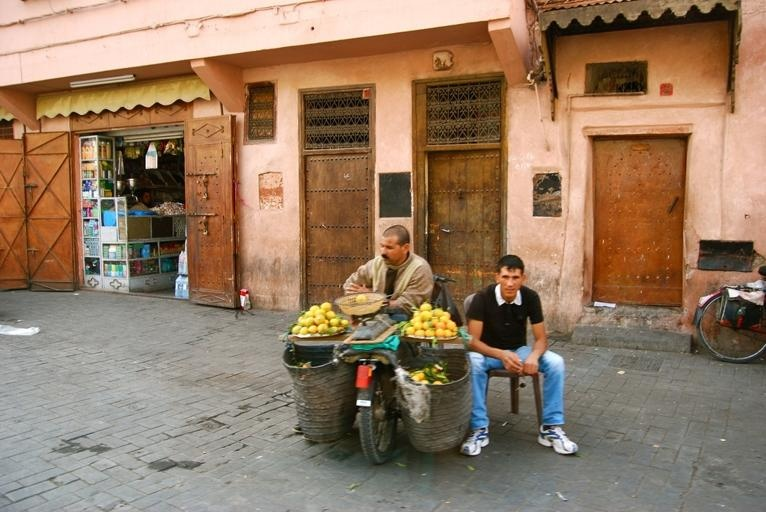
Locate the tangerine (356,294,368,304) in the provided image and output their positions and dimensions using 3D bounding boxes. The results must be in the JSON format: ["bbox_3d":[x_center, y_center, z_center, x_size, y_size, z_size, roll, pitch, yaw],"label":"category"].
[{"bbox_3d":[-0.219,0.458,6.371,0.096,0.049,0.094,-6,10,-41],"label":"tangerine"}]

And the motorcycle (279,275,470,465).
[{"bbox_3d":[-0.102,1.476,6.615,1.650,1.419,3.171,0,-6,5],"label":"motorcycle"}]

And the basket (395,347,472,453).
[{"bbox_3d":[0.466,1.441,6.254,0.826,0.994,0.768,-1,5,-9],"label":"basket"}]

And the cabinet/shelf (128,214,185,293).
[{"bbox_3d":[-5.193,-0.046,13.552,0.612,1.533,1.742,7,7,33],"label":"cabinet/shelf"}]

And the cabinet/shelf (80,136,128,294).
[{"bbox_3d":[-6.296,-1.009,13.539,1.166,3.420,0.776,1,10,25],"label":"cabinet/shelf"}]

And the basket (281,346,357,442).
[{"bbox_3d":[-0.751,1.444,6.622,1.007,1.002,1.048,1,1,4],"label":"basket"}]

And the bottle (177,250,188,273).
[{"bbox_3d":[-4.285,0.143,12.771,0.165,0.495,0.347,-8,10,-26],"label":"bottle"}]

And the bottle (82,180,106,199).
[{"bbox_3d":[-6.483,-1.507,13.454,0.418,0.375,0.235,5,11,18],"label":"bottle"}]
